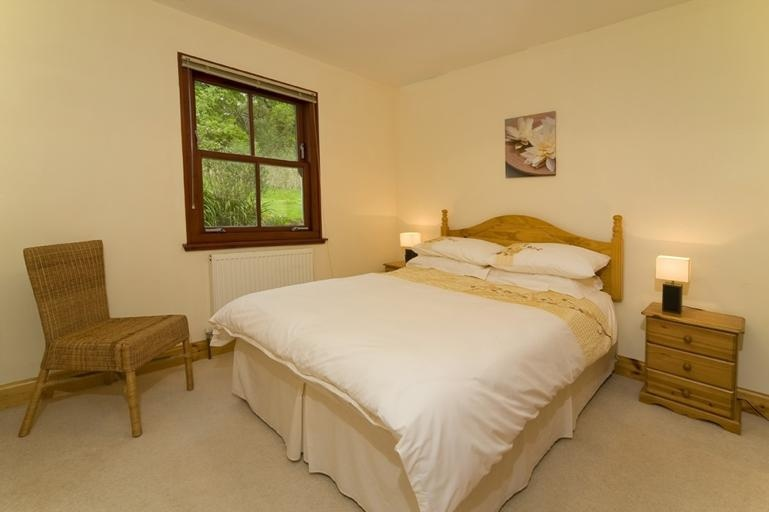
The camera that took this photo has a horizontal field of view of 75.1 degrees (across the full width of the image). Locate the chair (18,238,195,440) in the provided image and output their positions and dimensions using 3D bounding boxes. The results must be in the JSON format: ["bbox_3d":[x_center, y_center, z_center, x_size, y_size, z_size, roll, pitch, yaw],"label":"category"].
[{"bbox_3d":[-2.249,0.602,4.102,0.982,1.438,1.020,0,6,12],"label":"chair"}]

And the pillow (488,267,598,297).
[{"bbox_3d":[1.389,0.231,4.423,0.597,0.105,0.359,7,5,32],"label":"pillow"}]

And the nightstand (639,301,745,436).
[{"bbox_3d":[2.630,0.848,4.186,0.504,0.931,0.760,-29,26,-36],"label":"nightstand"}]
